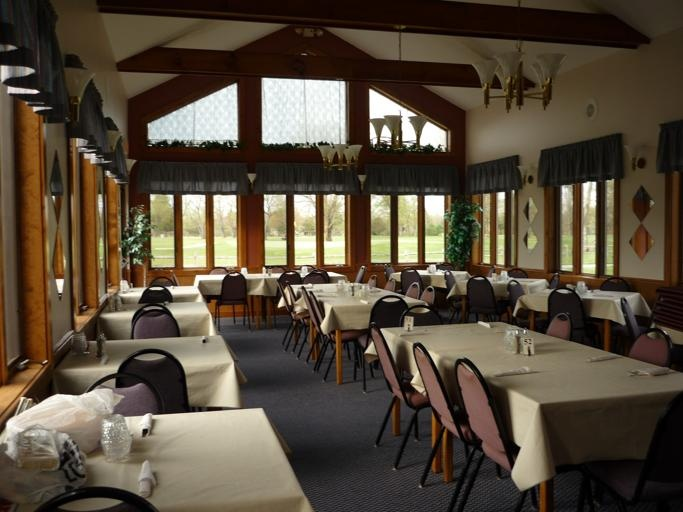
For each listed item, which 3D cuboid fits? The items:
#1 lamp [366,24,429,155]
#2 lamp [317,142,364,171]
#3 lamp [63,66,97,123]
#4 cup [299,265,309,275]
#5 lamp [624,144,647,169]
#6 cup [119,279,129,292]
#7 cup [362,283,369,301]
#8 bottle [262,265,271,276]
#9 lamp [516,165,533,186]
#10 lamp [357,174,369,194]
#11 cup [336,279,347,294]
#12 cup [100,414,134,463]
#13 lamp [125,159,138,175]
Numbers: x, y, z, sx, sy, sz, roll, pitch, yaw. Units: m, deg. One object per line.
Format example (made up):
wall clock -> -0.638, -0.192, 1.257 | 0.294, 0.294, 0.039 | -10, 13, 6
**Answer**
lamp -> 0.829, -2.396, 7.213 | 0.644, 1.567, 0.763 | -3, 9, -5
lamp -> 0.139, -1.725, 8.793 | 0.944, 0.382, 0.834 | -1, 1, -23
lamp -> -1.913, -1.172, 3.839 | 0.139, 0.404, 0.305 | -2, 4, -13
cup -> -0.729, 0.278, 10.249 | 0.146, 0.222, 0.490 | 0, -3, -6
lamp -> 4.259, -1.440, 7.693 | 0.198, 0.374, 0.354 | -1, 4, -10
cup -> -3.322, 0.472, 8.103 | 0.115, 0.219, 0.206 | 2, -5, -22
cup -> 0.324, 0.474, 6.987 | 0.126, 0.217, 0.132 | -1, 1, 0
bottle -> -1.503, 0.295, 10.491 | 0.150, 0.179, 0.655 | -2, -1, -7
lamp -> 3.478, -1.533, 10.005 | 0.192, 0.379, 0.434 | -1, 4, -9
lamp -> 0.450, -1.581, 11.432 | 0.294, 0.423, 0.291 | 0, 0, -24
cup -> -0.005, 0.440, 7.481 | 0.122, 0.162, 0.155 | 0, -5, -1
cup -> -1.098, 0.889, 2.578 | 0.151, 0.232, 0.160 | 1, 4, 0
lamp -> -3.992, -1.736, 10.031 | 0.169, 0.305, 1.162 | -2, 4, -20
